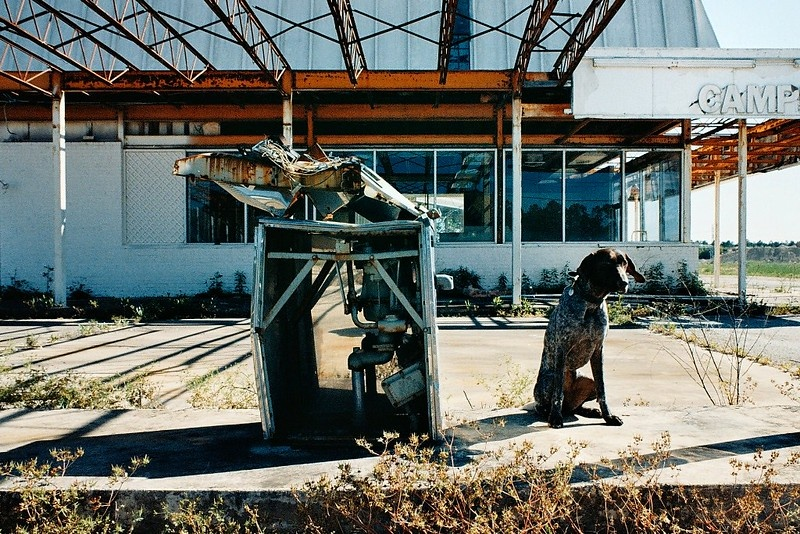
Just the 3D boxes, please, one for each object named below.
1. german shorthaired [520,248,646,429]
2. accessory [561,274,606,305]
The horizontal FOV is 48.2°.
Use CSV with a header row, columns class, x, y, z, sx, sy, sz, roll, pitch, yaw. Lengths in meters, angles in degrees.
class,x,y,z,sx,sy,sz,roll,pitch,yaw
german shorthaired,3.336,1.337,17.219,1.754,3.547,1.422,0,0,-4
accessory,3.490,0.388,16.738,0.668,0.566,0.367,30,36,9
